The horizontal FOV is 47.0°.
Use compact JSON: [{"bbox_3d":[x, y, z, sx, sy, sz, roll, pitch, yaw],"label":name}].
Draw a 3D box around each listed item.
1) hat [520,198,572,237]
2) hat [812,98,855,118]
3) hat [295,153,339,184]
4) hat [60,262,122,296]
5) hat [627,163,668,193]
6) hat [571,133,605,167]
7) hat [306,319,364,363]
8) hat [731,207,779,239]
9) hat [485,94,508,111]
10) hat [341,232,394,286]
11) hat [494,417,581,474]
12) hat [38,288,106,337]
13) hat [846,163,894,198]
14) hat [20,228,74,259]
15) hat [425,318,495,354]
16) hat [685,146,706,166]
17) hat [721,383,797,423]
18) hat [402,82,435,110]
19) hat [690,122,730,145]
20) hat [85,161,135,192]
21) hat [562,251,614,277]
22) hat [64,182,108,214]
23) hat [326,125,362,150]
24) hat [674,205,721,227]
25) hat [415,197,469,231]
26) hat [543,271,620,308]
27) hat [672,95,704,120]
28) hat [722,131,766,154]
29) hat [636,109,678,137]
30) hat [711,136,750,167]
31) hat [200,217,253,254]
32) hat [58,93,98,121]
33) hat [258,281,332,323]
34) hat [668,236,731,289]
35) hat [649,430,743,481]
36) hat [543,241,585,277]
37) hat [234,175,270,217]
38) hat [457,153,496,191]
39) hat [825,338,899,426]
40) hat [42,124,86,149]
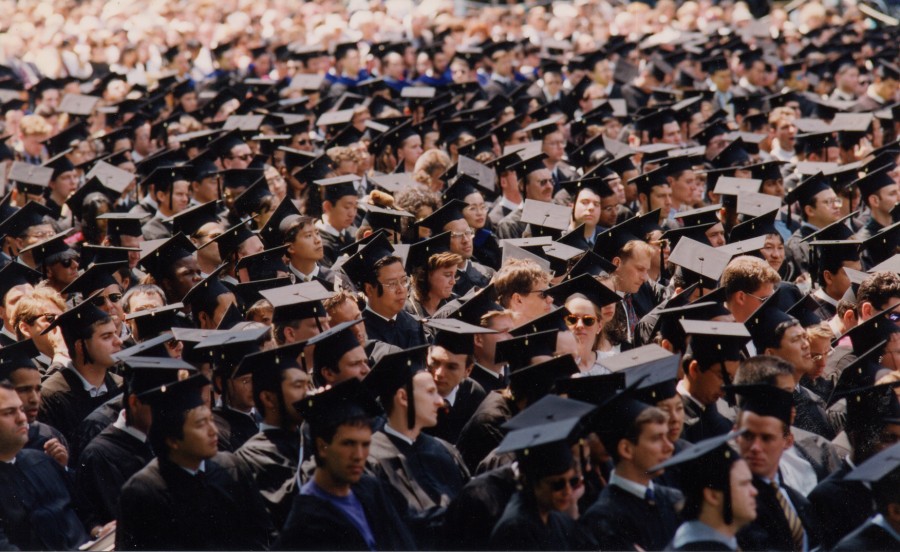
[{"bbox_3d":[1.391,-0.862,15.029,0.649,0.412,0.480,-5,32,14],"label":"hat"},{"bbox_3d":[7.707,-3.418,20.882,0.625,0.250,0.881,9,14,27],"label":"hat"},{"bbox_3d":[-2.118,-1.694,16.351,0.520,0.371,0.580,-35,-5,-30],"label":"hat"},{"bbox_3d":[-4.501,0.060,12.945,0.490,0.136,0.507,-28,1,29],"label":"hat"},{"bbox_3d":[3.190,-1.555,16.578,0.536,0.249,0.466,-20,10,-18],"label":"hat"},{"bbox_3d":[2.449,-2.094,17.973,0.578,0.436,0.813,-11,30,3],"label":"hat"},{"bbox_3d":[-1.241,0.728,11.645,0.541,0.297,0.503,-18,-8,-28],"label":"hat"},{"bbox_3d":[4.377,-0.667,14.825,0.695,0.302,0.573,-8,31,8],"label":"hat"},{"bbox_3d":[0.928,-3.422,20.253,0.412,0.210,0.436,-10,30,5],"label":"hat"},{"bbox_3d":[-1.042,-0.209,13.060,0.186,0.645,0.693,35,68,25],"label":"hat"},{"bbox_3d":[0.890,1.700,10.382,0.662,0.310,0.650,-14,13,18],"label":"hat"},{"bbox_3d":[-4.409,0.365,12.108,0.510,0.325,0.671,-24,-7,-23],"label":"hat"},{"bbox_3d":[6.709,-1.430,16.191,0.722,0.456,0.384,-19,31,-9],"label":"hat"},{"bbox_3d":[-5.295,-0.393,13.588,0.672,0.238,0.387,-23,32,-17],"label":"hat"},{"bbox_3d":[0.131,0.672,11.964,0.452,0.195,0.602,-2,9,-40],"label":"hat"},{"bbox_3d":[4.364,-2.120,18.108,0.560,0.252,0.504,-2,1,0],"label":"hat"},{"bbox_3d":[3.310,1.328,11.008,0.592,0.412,0.405,0,3,16],"label":"hat"},{"bbox_3d":[-0.653,-3.661,21.072,0.981,0.220,0.614,-2,32,-6],"label":"hat"},{"bbox_3d":[4.897,-2.566,19.561,0.541,0.192,0.545,-20,9,45],"label":"hat"},{"bbox_3d":[-5.170,-1.527,15.694,0.561,0.545,0.129,12,71,24],"label":"hat"},{"bbox_3d":[1.830,-0.144,13.418,0.411,0.104,0.405,-17,-16,16],"label":"hat"},{"bbox_3d":[-5.327,-1.192,15.074,0.505,0.320,0.504,-45,14,-5],"label":"hat"},{"bbox_3d":[-1.865,-2.462,18.173,0.573,0.161,0.519,-23,-7,-37],"label":"hat"},{"bbox_3d":[3.660,-0.889,15.284,0.472,0.140,0.512,-4,6,45],"label":"hat"},{"bbox_3d":[-0.096,-0.913,14.261,0.502,0.135,0.500,-17,-16,-30],"label":"hat"},{"bbox_3d":[1.642,0.164,12.647,0.539,0.129,0.569,29,34,33],"label":"hat"},{"bbox_3d":[4.725,-3.347,20.424,0.570,0.186,0.735,-13,5,6],"label":"hat"},{"bbox_3d":[5.360,-2.453,18.643,0.595,0.347,0.574,-1,1,2],"label":"hat"},{"bbox_3d":[3.883,-2.923,19.619,0.635,0.448,0.617,-13,3,-36],"label":"hat"},{"bbox_3d":[4.895,-2.131,18.164,0.582,0.168,0.540,-29,-13,-22],"label":"hat"},{"bbox_3d":[-2.836,-0.586,13.635,0.449,0.170,0.621,-21,-7,-36],"label":"hat"},{"bbox_3d":[-6.720,-3.076,18.645,0.561,0.135,0.581,1,27,-5],"label":"hat"},{"bbox_3d":[-1.786,0.275,12.288,0.757,0.363,0.548,-22,31,-15],"label":"hat"},{"bbox_3d":[3.315,-0.242,13.688,0.751,0.382,0.544,7,36,31],"label":"hat"},{"bbox_3d":[2.452,1.777,10.409,0.941,0.480,0.402,-14,31,-1],"label":"hat"},{"bbox_3d":[1.527,-0.286,13.924,0.492,0.291,0.474,16,-15,-19],"label":"hat"},{"bbox_3d":[-2.883,-1.147,15.156,0.548,0.264,0.546,-48,0,-38],"label":"hat"},{"bbox_3d":[0.441,-1.616,16.245,0.222,0.831,0.521,-29,51,29],"label":"hat"},{"bbox_3d":[4.731,1.277,12.037,0.626,0.848,1.298,2,33,24],"label":"hat"},{"bbox_3d":[-6.508,-2.386,17.685,0.299,0.262,0.780,12,38,36],"label":"hat"}]
